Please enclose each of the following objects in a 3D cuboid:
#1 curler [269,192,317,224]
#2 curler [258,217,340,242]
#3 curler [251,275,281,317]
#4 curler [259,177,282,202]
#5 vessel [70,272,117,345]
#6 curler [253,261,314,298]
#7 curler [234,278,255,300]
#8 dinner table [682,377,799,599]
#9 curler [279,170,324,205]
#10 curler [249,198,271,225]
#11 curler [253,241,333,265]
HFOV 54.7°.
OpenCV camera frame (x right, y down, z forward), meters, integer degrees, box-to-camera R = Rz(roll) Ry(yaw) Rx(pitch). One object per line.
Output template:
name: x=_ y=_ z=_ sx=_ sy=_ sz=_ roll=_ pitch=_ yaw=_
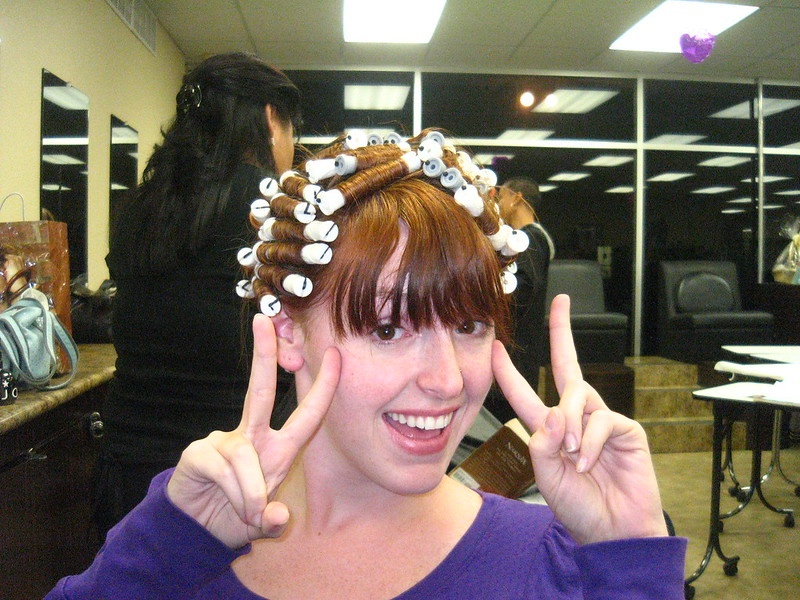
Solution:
curler: x=-0.282 y=-0.248 z=2.070 sx=0.062 sy=0.070 sz=0.117 roll=-48 pitch=34 yaw=-15
curler: x=-0.271 y=-0.180 z=2.095 sx=0.232 sy=0.081 sz=0.073 roll=2 pitch=11 yaw=35
curler: x=-0.356 y=-0.015 z=2.071 sx=0.054 sy=0.082 sz=0.024 roll=-41 pitch=-16 yaw=6
curler: x=-0.353 y=-0.299 z=2.140 sx=0.052 sy=0.059 sz=0.054 roll=4 pitch=-11 yaw=1
vessel: x=-1.426 y=0.079 z=3.595 sx=0.155 sy=0.234 sz=0.133 roll=-13 pitch=-23 yaw=24
curler: x=-0.311 y=-0.056 z=2.058 sx=0.068 sy=0.081 sz=0.213 roll=0 pitch=7 yaw=-29
curler: x=-0.431 y=-0.032 z=2.170 sx=0.048 sy=0.051 sz=0.025 roll=-19 pitch=7 yaw=-6
dinner table: x=1.796 y=0.989 z=4.030 sx=0.354 sy=0.790 sz=0.867 roll=-1 pitch=6 yaw=26
curler: x=-0.265 y=-0.317 z=2.091 sx=0.074 sy=0.065 sz=0.122 roll=-16 pitch=32 yaw=-27
curler: x=-0.381 y=-0.243 z=2.129 sx=0.062 sy=0.067 sz=0.060 roll=-6 pitch=-6 yaw=5
curler: x=-0.287 y=-0.124 z=2.052 sx=0.226 sy=0.067 sz=0.058 roll=8 pitch=11 yaw=38
